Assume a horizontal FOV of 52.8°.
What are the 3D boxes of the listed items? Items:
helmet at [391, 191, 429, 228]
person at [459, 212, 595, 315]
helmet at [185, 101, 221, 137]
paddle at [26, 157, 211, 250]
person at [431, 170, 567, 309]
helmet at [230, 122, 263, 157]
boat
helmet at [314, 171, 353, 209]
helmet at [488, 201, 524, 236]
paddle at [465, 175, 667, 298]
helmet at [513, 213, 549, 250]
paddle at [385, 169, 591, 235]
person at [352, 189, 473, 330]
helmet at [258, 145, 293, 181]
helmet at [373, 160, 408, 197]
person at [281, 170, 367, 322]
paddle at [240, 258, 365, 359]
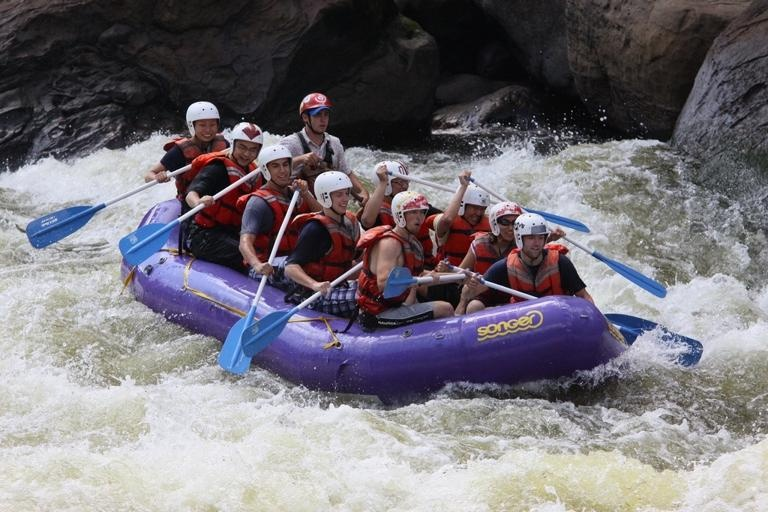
[{"bbox_3d":[0.221,-0.441,7.688,0.317,0.335,0.413,-2,-5,-44],"label":"helmet"},{"bbox_3d":[1.378,0.204,7.727,1.438,1.215,0.901,-6,16,-1],"label":"person"},{"bbox_3d":[-2.239,-1.755,9.712,0.385,0.469,0.501,-3,-4,-28],"label":"helmet"},{"bbox_3d":[-3.544,-0.677,10.405,3.090,0.533,0.214,-24,18,-9],"label":"paddle"},{"bbox_3d":[0.951,-0.019,8.611,1.254,1.677,0.767,5,1,-38],"label":"person"},{"bbox_3d":[-1.612,-1.447,9.187,0.296,0.348,0.366,15,-25,-25],"label":"helmet"},{"bbox_3d":[-0.405,0.721,7.901,3.635,0.736,2.221,14,21,30],"label":"boat"},{"bbox_3d":[-0.528,-0.702,8.023,0.413,0.342,0.355,-3,10,4],"label":"helmet"},{"bbox_3d":[1.285,-0.410,8.051,0.296,0.301,0.355,-3,2,0],"label":"helmet"},{"bbox_3d":[2.259,-0.203,9.202,2.464,0.121,0.447,34,51,8],"label":"paddle"},{"bbox_3d":[1.427,-0.234,7.713,0.273,0.312,0.362,3,-1,-24],"label":"helmet"},{"bbox_3d":[1.352,-0.653,9.417,2.371,0.155,0.281,21,30,5],"label":"paddle"},{"bbox_3d":[0.321,0.166,7.784,1.151,1.595,0.958,-2,4,-27],"label":"person"},{"bbox_3d":[-1.231,-1.062,8.717,0.321,0.346,0.413,-5,0,-34],"label":"helmet"},{"bbox_3d":[0.081,-0.891,8.656,0.403,0.390,0.308,2,10,9],"label":"helmet"},{"bbox_3d":[-0.384,-0.129,8.037,1.161,1.466,1.105,4,15,3],"label":"person"},{"bbox_3d":[-0.775,0.508,7.354,2.471,0.143,0.426,-26,14,46],"label":"paddle"}]
